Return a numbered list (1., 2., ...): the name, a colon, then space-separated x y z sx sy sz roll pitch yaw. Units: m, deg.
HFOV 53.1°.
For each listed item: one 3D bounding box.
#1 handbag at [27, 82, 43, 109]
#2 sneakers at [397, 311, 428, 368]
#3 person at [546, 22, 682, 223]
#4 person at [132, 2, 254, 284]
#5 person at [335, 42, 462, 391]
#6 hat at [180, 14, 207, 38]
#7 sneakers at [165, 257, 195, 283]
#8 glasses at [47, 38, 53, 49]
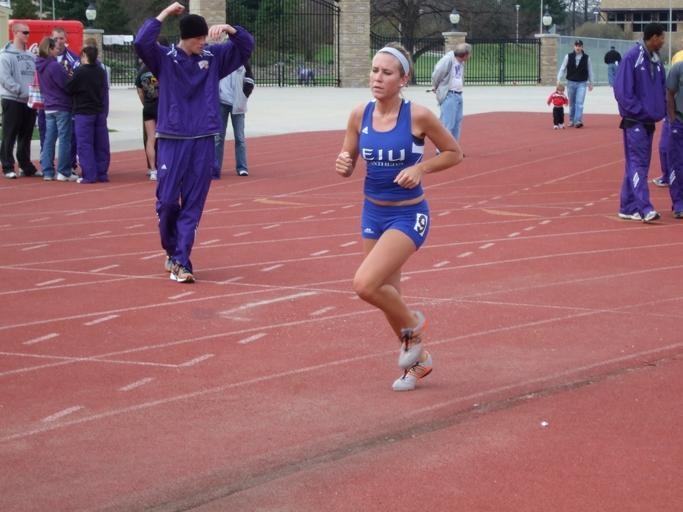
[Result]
1. handbag: -5.638 -2.963 12.621 0.358 0.434 0.159 5 14 22
2. sneakers: 0.422 0.537 4.233 0.123 0.299 0.334 1 5 40
3. person: 4.051 -1.813 9.316 0.714 2.623 0.897 5 14 23
4. person: -1.462 -1.140 6.772 1.038 2.648 0.778 -8 15 -31
5. person: 0.338 -0.218 4.201 0.748 2.125 0.715 2 13 12
6. hat: -1.440 -2.243 6.698 0.269 0.244 0.405 -3 14 -12
7. sneakers: -1.592 0.121 6.729 0.406 0.228 0.171 11 17 39
8. glasses: -5.260 -3.871 12.451 0.118 0.199 0.273 -6 15 -21
